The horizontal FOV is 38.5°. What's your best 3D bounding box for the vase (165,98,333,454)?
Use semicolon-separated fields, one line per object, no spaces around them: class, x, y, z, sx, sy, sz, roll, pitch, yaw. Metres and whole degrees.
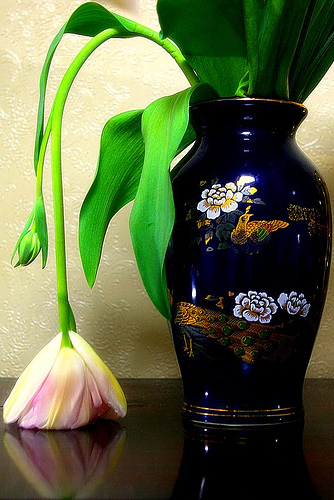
vase;0.057;0.009;0.345;0.118;0.241;0.068;-1;-8;-2
